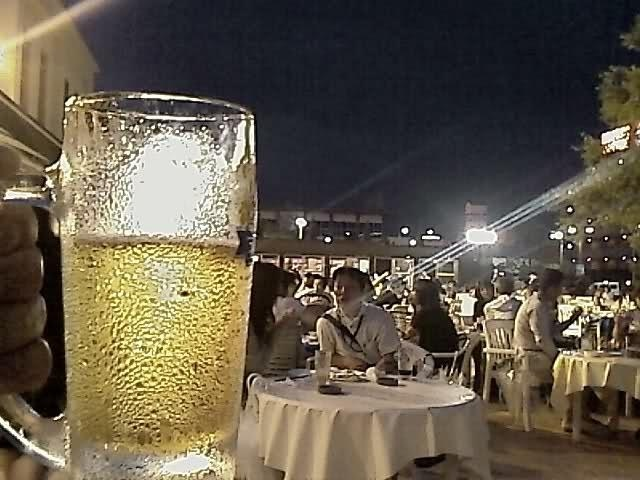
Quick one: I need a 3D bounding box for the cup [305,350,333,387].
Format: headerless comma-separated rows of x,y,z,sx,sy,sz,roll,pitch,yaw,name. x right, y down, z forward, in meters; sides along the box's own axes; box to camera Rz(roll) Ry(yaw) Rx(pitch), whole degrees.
-0.031,0.797,3.183,0.126,0.241,0.220,0,-5,-5,cup
